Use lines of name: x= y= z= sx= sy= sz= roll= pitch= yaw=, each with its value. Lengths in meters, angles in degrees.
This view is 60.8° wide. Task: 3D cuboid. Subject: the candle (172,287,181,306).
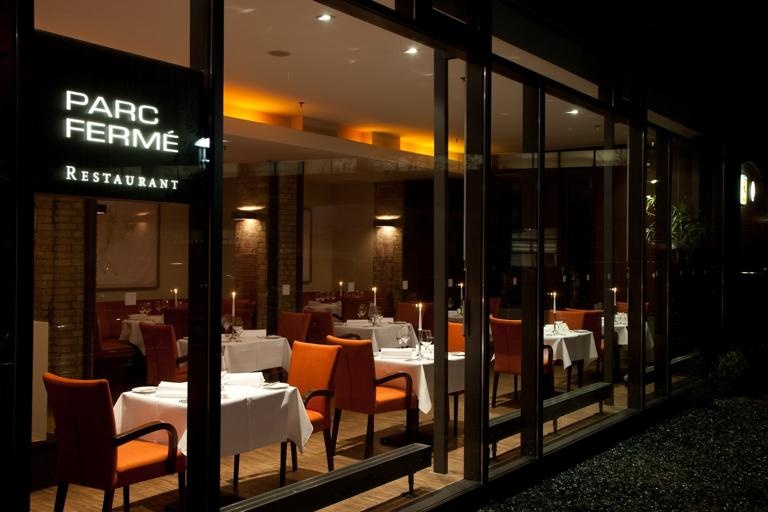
candle: x=-1.070 y=0.205 z=3.342 sx=0.029 sy=0.087 sz=0.016 roll=2 pitch=7 yaw=-40

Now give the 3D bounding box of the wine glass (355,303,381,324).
wine glass: x=-0.106 y=0.362 z=4.337 sx=0.130 sy=0.222 sz=0.136 roll=0 pitch=3 yaw=-11

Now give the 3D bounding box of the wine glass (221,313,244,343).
wine glass: x=-0.822 y=0.383 z=3.522 sx=0.125 sy=0.144 sz=0.128 roll=2 pitch=0 yaw=11

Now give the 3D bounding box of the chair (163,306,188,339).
chair: x=-1.061 y=0.342 z=3.346 sx=0.125 sy=0.182 sz=0.142 roll=1 pitch=1 yaw=-10

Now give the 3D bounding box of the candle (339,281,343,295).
candle: x=-0.277 y=0.197 z=4.131 sx=0.032 sy=0.080 sz=0.012 roll=4 pitch=6 yaw=-29

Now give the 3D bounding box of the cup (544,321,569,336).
cup: x=1.527 y=0.644 z=5.788 sx=0.175 sy=0.083 sz=0.180 roll=-1 pitch=2 yaw=0

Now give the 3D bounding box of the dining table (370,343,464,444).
dining table: x=0.234 y=0.960 z=4.754 sx=0.602 sy=0.301 sz=0.618 roll=2 pitch=0 yaw=35

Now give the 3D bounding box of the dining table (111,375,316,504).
dining table: x=-0.872 y=0.906 z=3.738 sx=0.496 sy=0.298 sz=0.803 roll=2 pitch=4 yaw=17

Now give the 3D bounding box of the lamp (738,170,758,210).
lamp: x=5.334 y=-0.964 z=9.522 sx=0.497 sy=0.439 sz=0.155 roll=3 pitch=7 yaw=-38

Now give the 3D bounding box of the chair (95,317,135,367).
chair: x=-1.335 y=0.427 z=3.190 sx=0.192 sy=0.254 sz=0.178 roll=1 pitch=-3 yaw=15

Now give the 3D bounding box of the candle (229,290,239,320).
candle: x=-0.816 y=0.260 z=3.521 sx=0.018 sy=0.151 sz=0.047 roll=9 pitch=6 yaw=19

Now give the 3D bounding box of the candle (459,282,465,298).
candle: x=0.566 y=0.249 z=4.814 sx=0.050 sy=0.120 sz=0.019 roll=3 pitch=7 yaw=-39
